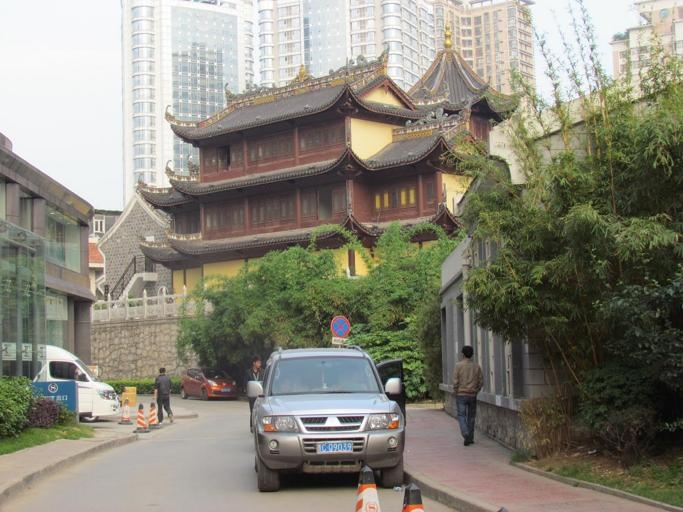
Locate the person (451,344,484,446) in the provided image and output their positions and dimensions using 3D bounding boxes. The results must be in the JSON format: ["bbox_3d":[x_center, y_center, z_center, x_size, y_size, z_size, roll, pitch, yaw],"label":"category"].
[{"bbox_3d":[2.787,3.055,20.804,0.616,2.236,1.587,-5,-12,7],"label":"person"}]

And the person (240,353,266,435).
[{"bbox_3d":[-2.327,3.819,26.000,0.583,2.055,0.523,-2,2,-21],"label":"person"}]

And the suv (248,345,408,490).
[{"bbox_3d":[-0.267,2.618,16.083,1.565,1.581,3.008,-1,-15,-5],"label":"suv"}]

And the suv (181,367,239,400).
[{"bbox_3d":[-6.370,6.106,45.204,1.682,1.818,3.699,6,-18,-39],"label":"suv"}]
